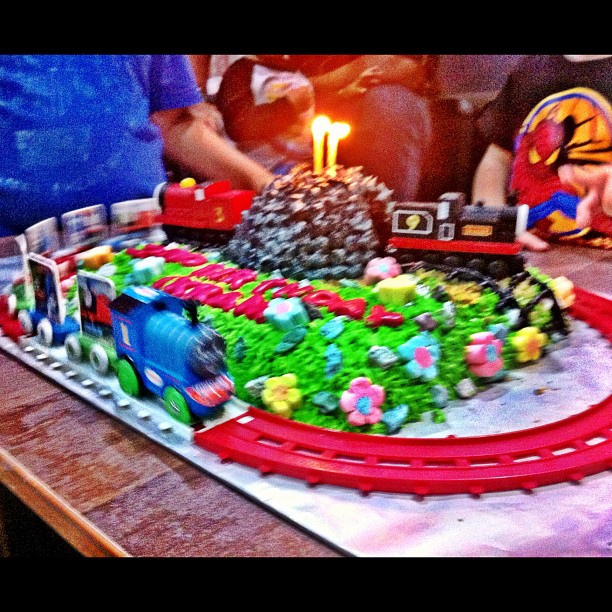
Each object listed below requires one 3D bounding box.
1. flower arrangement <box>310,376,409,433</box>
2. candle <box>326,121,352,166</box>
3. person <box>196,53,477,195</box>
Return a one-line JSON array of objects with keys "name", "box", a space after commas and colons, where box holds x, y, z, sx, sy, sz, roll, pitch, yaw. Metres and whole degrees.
[{"name": "flower arrangement", "box": [0.268, 0.468, 2.621, 0.499, 0.258, 0.092, 7, 6, -24]}, {"name": "candle", "box": [0.246, -1.222, 4.029, 0.185, 0.311, 0.100, 0, 17, 2]}, {"name": "person", "box": [0.241, -1.375, 3.861, 1.485, 0.537, 0.971, 17, 5, -3]}]
